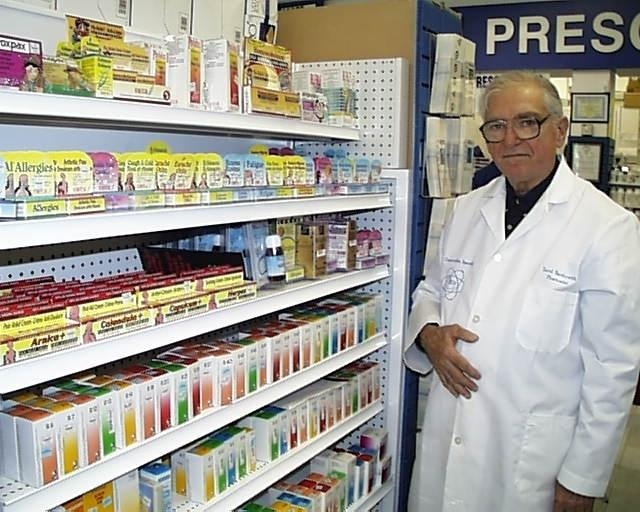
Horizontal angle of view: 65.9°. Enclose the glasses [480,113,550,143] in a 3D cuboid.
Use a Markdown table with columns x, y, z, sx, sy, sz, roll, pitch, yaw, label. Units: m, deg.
| x | y | z | sx | sy | sz | roll | pitch | yaw | label |
| --- | --- | --- | --- | --- | --- | --- | --- | --- | --- |
| 0.793 | -0.507 | 2.003 | 0.260 | 0.108 | 0.095 | -4 | 3 | 27 | glasses |
